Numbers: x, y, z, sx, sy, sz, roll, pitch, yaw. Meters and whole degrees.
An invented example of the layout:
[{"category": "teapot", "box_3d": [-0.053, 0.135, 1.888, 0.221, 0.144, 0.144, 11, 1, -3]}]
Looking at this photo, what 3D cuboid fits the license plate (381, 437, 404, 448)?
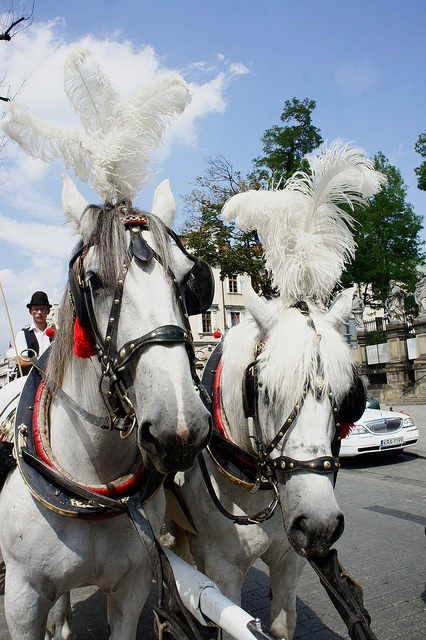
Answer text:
[{"category": "license plate", "box_3d": [3.324, 2.251, 10.280, 0.521, 0.157, 0.047, 1, -7, -26]}]
